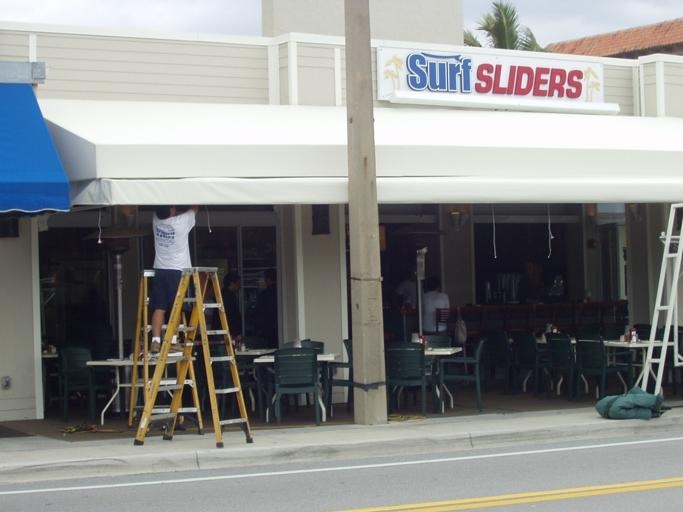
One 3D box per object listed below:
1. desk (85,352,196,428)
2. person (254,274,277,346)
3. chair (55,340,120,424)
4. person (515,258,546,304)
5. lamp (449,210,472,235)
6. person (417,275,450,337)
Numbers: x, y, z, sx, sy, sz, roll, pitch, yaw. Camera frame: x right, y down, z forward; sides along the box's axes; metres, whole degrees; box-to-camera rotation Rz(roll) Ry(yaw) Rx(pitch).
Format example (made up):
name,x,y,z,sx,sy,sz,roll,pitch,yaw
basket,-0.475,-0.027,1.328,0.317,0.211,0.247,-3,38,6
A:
name,x,y,z,sx,sy,sz,roll,pitch,yaw
desk,-3.037,1.926,15.651,1.448,1.160,1.469,1,-1,-31
person,-1.321,0.939,18.127,0.355,1.360,0.352,-2,-3,-20
chair,-4.390,2.051,16.524,0.817,1.115,0.869,-5,-6,3
person,4.765,0.721,26.556,0.797,1.220,0.774,13,-18,-37
lamp,2.737,-0.814,23.733,0.377,0.466,0.674,-5,-4,32
person,1.783,0.938,19.690,0.512,1.083,0.490,-3,-3,4
